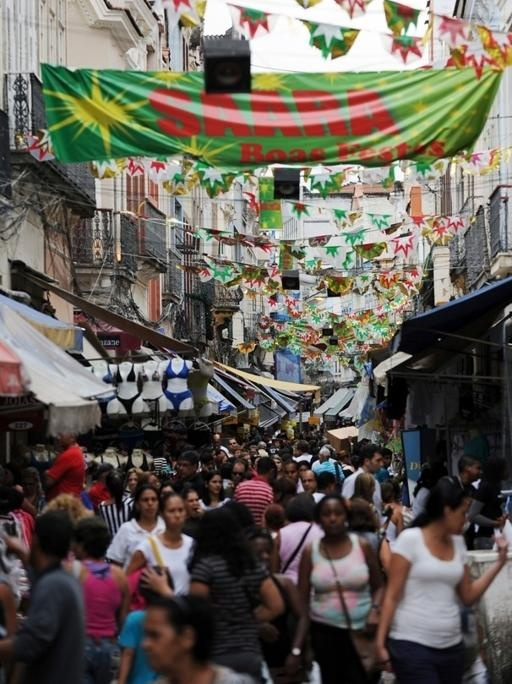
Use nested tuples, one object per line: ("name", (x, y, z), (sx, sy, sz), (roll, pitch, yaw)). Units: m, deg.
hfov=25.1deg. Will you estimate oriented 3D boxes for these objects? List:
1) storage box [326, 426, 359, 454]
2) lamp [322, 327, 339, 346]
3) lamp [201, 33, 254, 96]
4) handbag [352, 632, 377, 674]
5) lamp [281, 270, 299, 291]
("storage box", (2.051, 2.272, 27.173), (0.942, 0.506, 0.874), (-5, -1, -29))
("lamp", (2.205, -0.163, 33.849), (0.374, 0.308, 0.638), (4, 5, 0))
("lamp", (-0.254, -1.931, 8.203), (0.333, 0.257, 0.440), (-7, 20, -17))
("handbag", (0.612, 1.653, 6.153), (0.069, 0.208, 0.177), (13, -30, -41))
("lamp", (0.560, -1.087, 19.975), (0.322, 0.184, 0.312), (-15, -28, 18))
